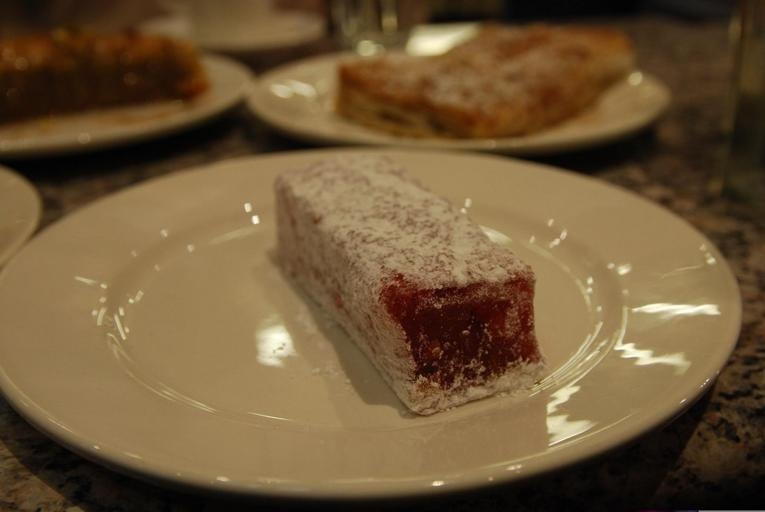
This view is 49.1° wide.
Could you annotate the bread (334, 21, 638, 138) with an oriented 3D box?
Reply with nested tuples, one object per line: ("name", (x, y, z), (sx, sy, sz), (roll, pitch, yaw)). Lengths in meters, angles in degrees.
("bread", (0.251, -0.392, 1.839), (0.490, 0.090, 0.331), (-22, 34, -35))
